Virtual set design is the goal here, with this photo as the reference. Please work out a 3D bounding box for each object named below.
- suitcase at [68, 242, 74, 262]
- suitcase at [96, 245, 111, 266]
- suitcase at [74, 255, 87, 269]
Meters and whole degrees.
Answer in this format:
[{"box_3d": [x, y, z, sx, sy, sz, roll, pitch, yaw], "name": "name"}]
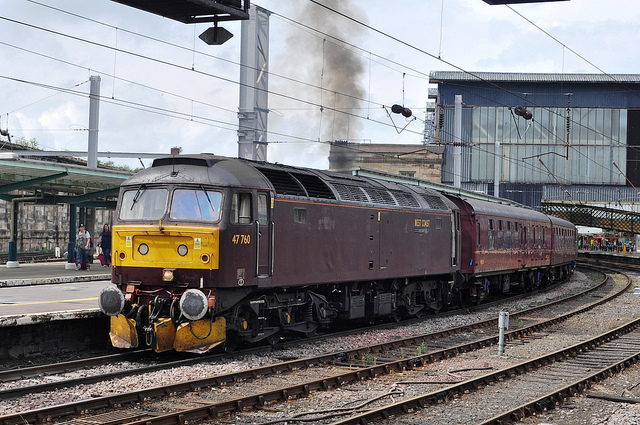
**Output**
[{"box_3d": [-12.020, 1.926, 29.862, 0.253, 0.898, 0.562, 0, 2, -22], "name": "suitcase"}, {"box_3d": [-9.971, 2.027, 28.517, 0.370, 0.309, 1.289, -21, -33, -10], "name": "suitcase"}, {"box_3d": [-11.115, 2.395, 28.758, 0.256, 0.446, 0.424, -5, 4, -9], "name": "suitcase"}]
